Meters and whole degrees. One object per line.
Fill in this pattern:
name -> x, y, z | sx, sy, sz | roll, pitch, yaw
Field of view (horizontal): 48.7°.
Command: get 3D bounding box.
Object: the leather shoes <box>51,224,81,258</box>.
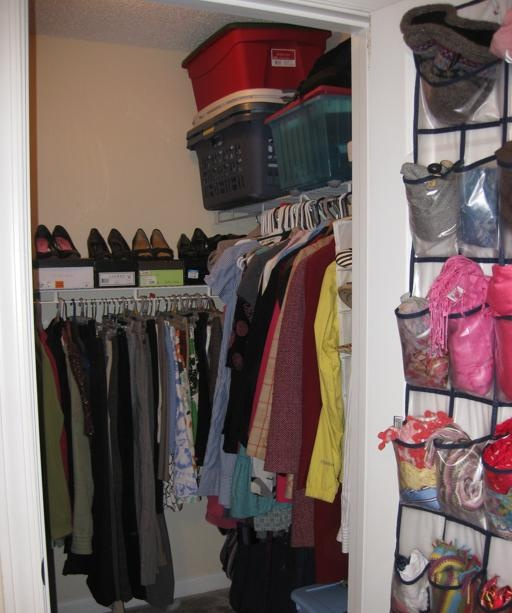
leather shoes -> -0.803, -0.274, 2.376 | 0.072, 0.101, 0.224 | -10, 31, -29

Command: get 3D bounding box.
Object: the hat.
hat -> 0.332, -0.439, 0.981 | 0.093, 0.193, 0.170 | -5, 1, -37

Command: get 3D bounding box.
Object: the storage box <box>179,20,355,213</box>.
storage box -> 0.045, -0.735, 2.462 | 0.542, 0.795, 0.883 | -6, 5, -29

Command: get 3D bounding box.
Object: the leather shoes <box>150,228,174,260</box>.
leather shoes -> -0.428, -0.278, 2.561 | 0.069, 0.227, 0.059 | -2, -38, -21

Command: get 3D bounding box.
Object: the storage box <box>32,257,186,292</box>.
storage box -> -0.587, -0.144, 2.357 | 0.608, 0.147, 0.086 | -7, 2, -32

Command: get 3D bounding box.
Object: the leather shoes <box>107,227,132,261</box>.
leather shoes -> -0.615, -0.280, 2.553 | 0.069, 0.092, 0.216 | -10, 41, -20

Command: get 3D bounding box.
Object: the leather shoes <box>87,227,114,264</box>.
leather shoes -> -0.688, -0.282, 2.514 | 0.072, 0.095, 0.224 | -12, 44, -20

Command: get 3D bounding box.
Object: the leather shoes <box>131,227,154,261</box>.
leather shoes -> -0.509, -0.287, 2.529 | 0.064, 0.221, 0.055 | -12, -22, -3

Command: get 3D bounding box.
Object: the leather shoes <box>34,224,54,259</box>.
leather shoes -> -0.842, -0.258, 2.245 | 0.058, 0.200, 0.059 | -3, -35, -21
